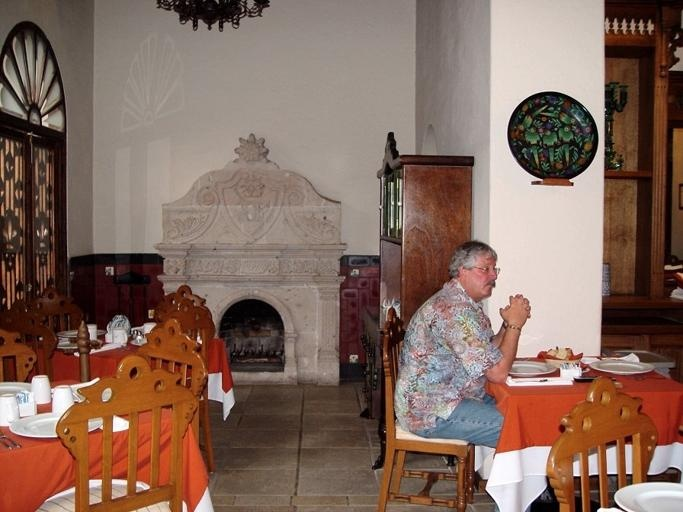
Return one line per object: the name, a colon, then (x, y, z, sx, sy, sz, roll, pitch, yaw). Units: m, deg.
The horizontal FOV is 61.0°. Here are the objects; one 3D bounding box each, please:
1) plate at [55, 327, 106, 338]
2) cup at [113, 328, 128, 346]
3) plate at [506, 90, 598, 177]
plate: (-2.225, 0.652, 4.882, 0.215, 0.033, 0.230, 0, -1, 2)
cup: (-1.767, 0.655, 4.643, 0.113, 0.137, 0.118, 2, -4, 0)
plate: (1.540, -0.878, 4.136, 0.579, 0.657, 0.103, 1, -1, -2)
